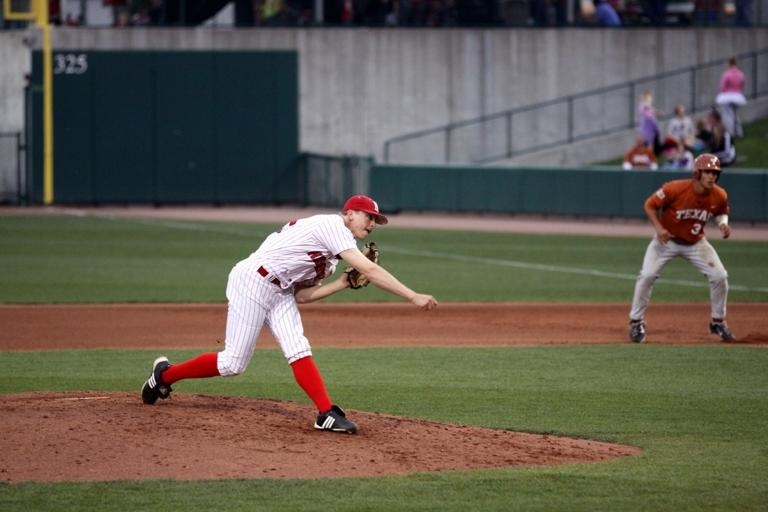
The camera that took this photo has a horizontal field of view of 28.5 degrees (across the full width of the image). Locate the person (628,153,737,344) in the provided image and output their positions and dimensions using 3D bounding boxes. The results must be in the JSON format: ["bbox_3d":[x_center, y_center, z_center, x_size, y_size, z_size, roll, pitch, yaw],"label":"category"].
[{"bbox_3d":[4.556,-0.135,22.845,1.512,2.825,0.989,2,7,12],"label":"person"}]

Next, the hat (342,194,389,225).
[{"bbox_3d":[-0.246,-0.636,19.912,0.562,0.276,0.372,13,-1,1],"label":"hat"}]

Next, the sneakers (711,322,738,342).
[{"bbox_3d":[5.171,1.153,23.058,0.323,0.137,0.114,32,58,18],"label":"sneakers"}]

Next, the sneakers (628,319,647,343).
[{"bbox_3d":[3.828,1.135,22.912,0.201,0.434,0.163,28,-40,-27],"label":"sneakers"}]

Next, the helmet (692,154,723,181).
[{"bbox_3d":[4.827,-1.339,22.496,0.402,0.390,0.511,2,-2,-18],"label":"helmet"}]
